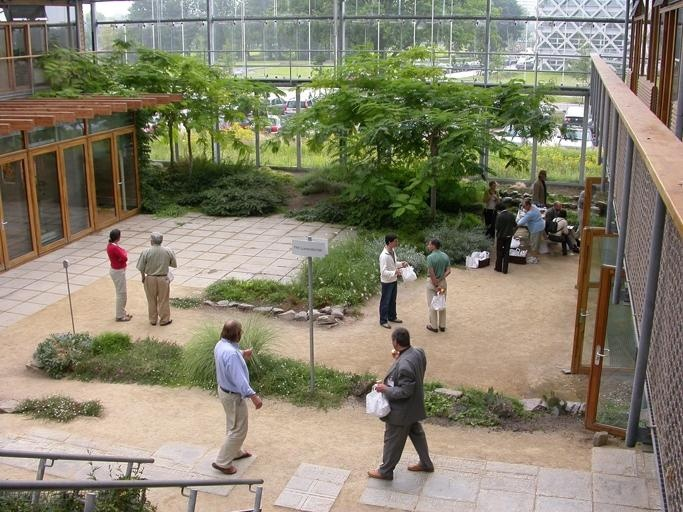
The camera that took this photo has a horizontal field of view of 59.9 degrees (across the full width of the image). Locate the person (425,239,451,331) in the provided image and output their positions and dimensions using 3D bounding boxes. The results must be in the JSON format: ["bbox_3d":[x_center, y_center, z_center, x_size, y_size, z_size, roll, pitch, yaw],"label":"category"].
[{"bbox_3d":[1.974,0.588,12.168,0.437,1.964,0.648,2,13,10],"label":"person"}]

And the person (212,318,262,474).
[{"bbox_3d":[-1.318,1.769,7.374,0.622,1.949,0.331,3,13,14],"label":"person"}]

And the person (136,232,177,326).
[{"bbox_3d":[-3.784,0.461,12.205,0.741,1.954,0.519,-5,13,-19],"label":"person"}]

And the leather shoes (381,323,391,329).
[{"bbox_3d":[0.951,1.456,12.505,0.203,0.086,0.076,13,31,32],"label":"leather shoes"}]

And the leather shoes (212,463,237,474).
[{"bbox_3d":[-1.487,2.672,7.473,0.243,0.097,0.136,3,11,-1],"label":"leather shoes"}]

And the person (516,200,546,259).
[{"bbox_3d":[5.442,-0.782,16.993,0.727,1.661,1.300,4,13,19],"label":"person"}]

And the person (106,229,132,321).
[{"bbox_3d":[-4.746,0.335,12.658,0.373,1.974,1.126,-5,13,-21],"label":"person"}]

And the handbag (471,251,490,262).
[{"bbox_3d":[3.840,-0.031,16.231,0.379,0.123,0.281,-18,27,-42],"label":"handbag"}]

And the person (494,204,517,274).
[{"bbox_3d":[4.345,-0.397,15.849,0.484,1.617,0.696,3,13,15],"label":"person"}]

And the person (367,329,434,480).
[{"bbox_3d":[0.756,1.822,7.232,0.742,1.970,0.480,-8,15,-31],"label":"person"}]

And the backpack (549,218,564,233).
[{"bbox_3d":[6.258,-0.894,17.285,0.410,0.426,0.301,-5,11,-24],"label":"backpack"}]

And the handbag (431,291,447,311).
[{"bbox_3d":[1.966,0.903,12.065,0.393,0.434,0.223,1,14,1],"label":"handbag"}]

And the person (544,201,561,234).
[{"bbox_3d":[6.187,-1.130,17.440,0.396,0.918,0.689,6,14,25],"label":"person"}]

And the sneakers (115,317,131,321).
[{"bbox_3d":[-4.639,1.337,12.602,0.282,0.119,0.095,-4,23,-4],"label":"sneakers"}]

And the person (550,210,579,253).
[{"bbox_3d":[6.611,-0.742,17.624,1.021,1.372,0.573,-13,20,-28],"label":"person"}]

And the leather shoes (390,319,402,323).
[{"bbox_3d":[1.170,1.377,12.724,0.249,0.107,0.083,-3,20,-1],"label":"leather shoes"}]

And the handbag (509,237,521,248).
[{"bbox_3d":[5.031,-0.402,17.226,0.255,0.320,0.756,1,6,14],"label":"handbag"}]

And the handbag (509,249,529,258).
[{"bbox_3d":[4.955,-0.102,16.597,0.333,0.179,0.461,10,15,26],"label":"handbag"}]

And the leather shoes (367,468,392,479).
[{"bbox_3d":[0.488,2.712,7.462,0.299,0.128,0.124,7,13,10],"label":"leather shoes"}]

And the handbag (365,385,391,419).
[{"bbox_3d":[0.420,1.759,7.045,0.274,0.398,0.199,11,16,41],"label":"handbag"}]

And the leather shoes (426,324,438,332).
[{"bbox_3d":[1.889,1.507,12.371,0.232,0.092,0.087,25,41,36],"label":"leather shoes"}]

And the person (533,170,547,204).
[{"bbox_3d":[6.535,-2.232,19.498,0.424,1.195,1.369,4,13,18],"label":"person"}]

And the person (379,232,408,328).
[{"bbox_3d":[1.020,0.507,12.244,0.437,2.034,0.581,1,13,6],"label":"person"}]
